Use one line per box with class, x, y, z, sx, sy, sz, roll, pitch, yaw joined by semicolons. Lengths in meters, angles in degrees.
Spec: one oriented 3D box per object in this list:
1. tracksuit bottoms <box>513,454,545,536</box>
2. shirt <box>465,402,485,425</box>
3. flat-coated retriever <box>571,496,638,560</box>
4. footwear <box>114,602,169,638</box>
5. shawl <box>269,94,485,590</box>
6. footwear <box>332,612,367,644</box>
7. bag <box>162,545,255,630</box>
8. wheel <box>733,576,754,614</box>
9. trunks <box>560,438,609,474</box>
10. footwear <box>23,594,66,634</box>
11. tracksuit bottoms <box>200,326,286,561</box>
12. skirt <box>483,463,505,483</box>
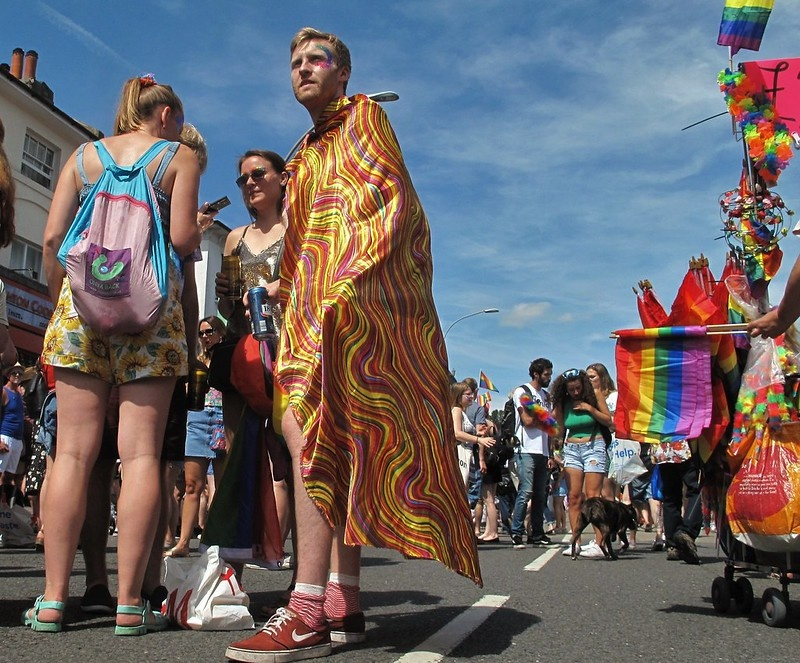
tracksuit bottoms;1.606;1.935;10.402;0.394;1.197;0.336;8;-10;-24
shirt;1.047;1.140;11.792;0.412;0.371;0.221;-1;0;3
flat-coated retriever;2.216;2.037;9.011;0.339;0.668;0.992;-2;-10;44
footwear;-1.118;1.239;3.717;0.104;0.109;0.241;-3;-10;19
shawl;-0.128;-0.145;3.900;0.727;2.498;0.690;-1;-12;-6
footwear;-0.222;1.279;3.683;0.163;0.084;0.075;-6;-18;32
bag;-0.940;1.218;4.056;0.304;0.391;0.512;21;-23;-40
wheel;1.843;1.414;4.601;0.088;0.188;0.181;-3;-13;20
trunks;2.010;1.356;9.370;0.467;0.381;0.369;-11;-39;30
footwear;-1.520;1.208;3.660;0.091;0.101;0.202;5;-4;-22
tracksuit bottoms;-0.812;0.626;4.537;0.442;1.241;0.295;14;-15;-42
skirt;1.191;1.833;10.916;0.249;0.364;0.195;6;-37;3
